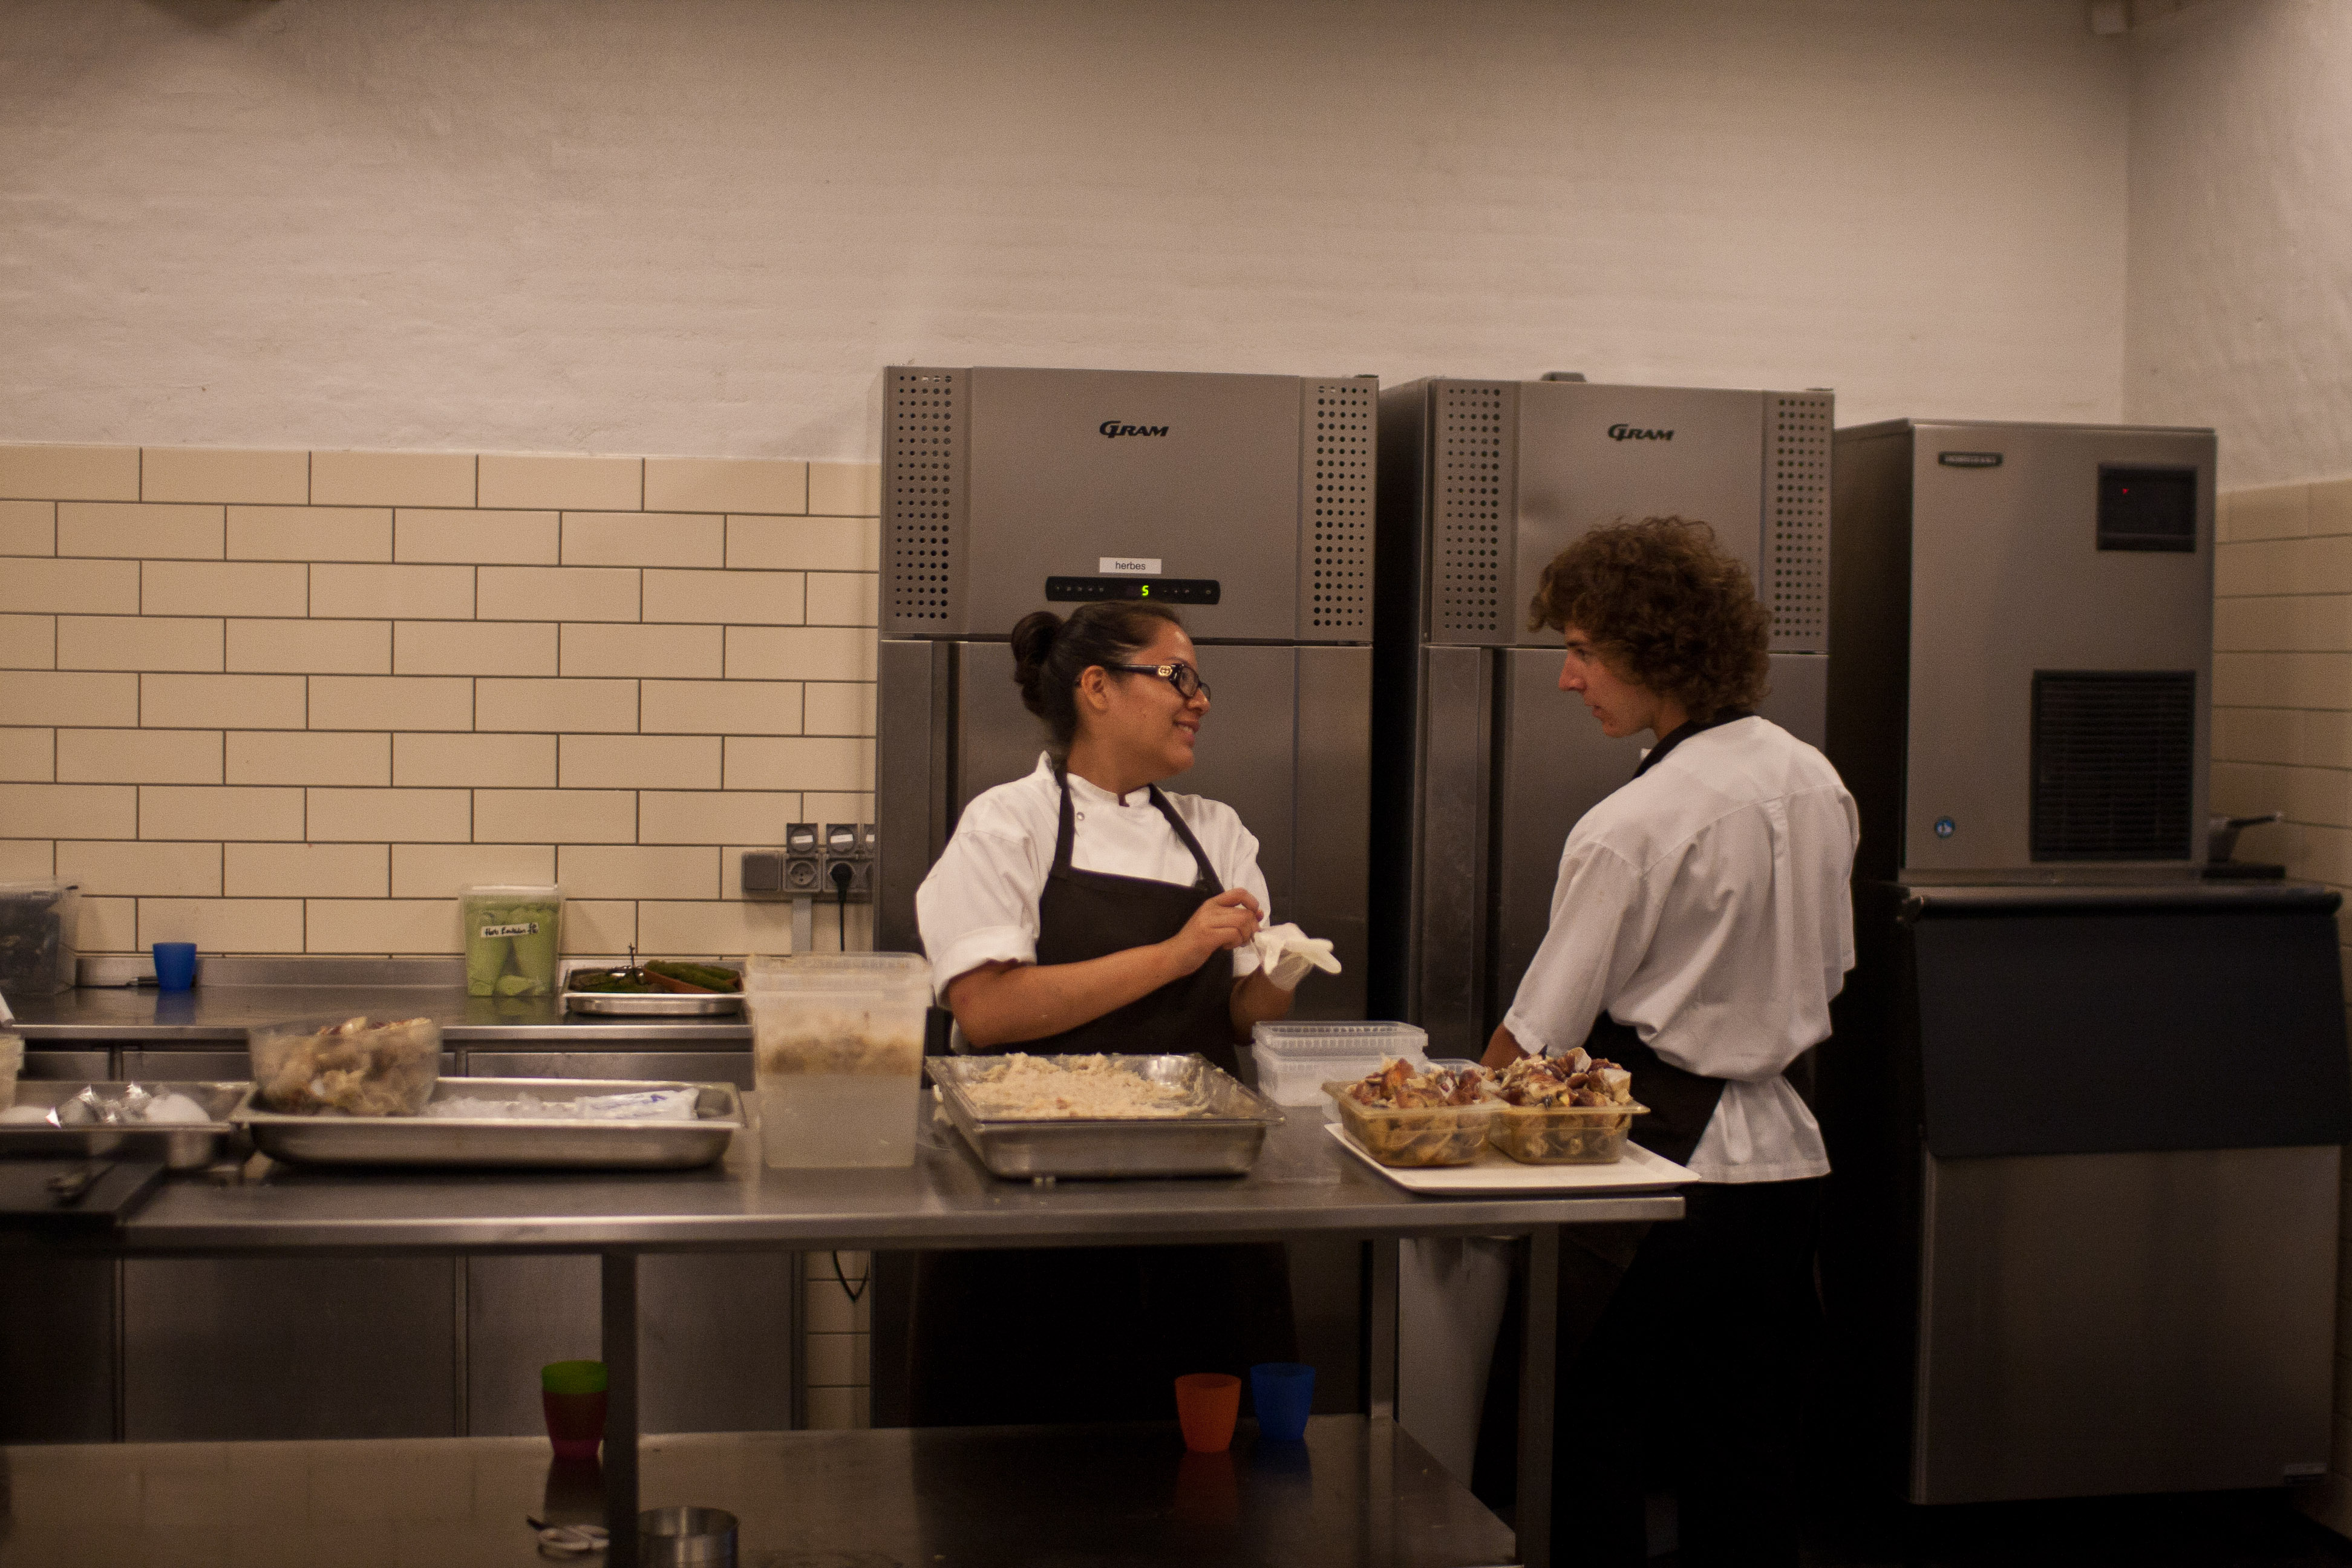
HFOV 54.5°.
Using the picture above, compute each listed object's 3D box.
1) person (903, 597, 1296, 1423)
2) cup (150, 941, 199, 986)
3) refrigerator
[{"bbox_3d":[-0.164,0.453,4.684,0.772,1.641,0.563,-1,4,8],"label":"person"},{"bbox_3d":[-2.521,0.456,5.828,0.112,0.112,0.113,0,-3,0],"label":"cup"},{"bbox_3d":[0.331,-0.141,5.027,1.776,1.652,0.595,0,1,-9],"label":"refrigerator"}]
